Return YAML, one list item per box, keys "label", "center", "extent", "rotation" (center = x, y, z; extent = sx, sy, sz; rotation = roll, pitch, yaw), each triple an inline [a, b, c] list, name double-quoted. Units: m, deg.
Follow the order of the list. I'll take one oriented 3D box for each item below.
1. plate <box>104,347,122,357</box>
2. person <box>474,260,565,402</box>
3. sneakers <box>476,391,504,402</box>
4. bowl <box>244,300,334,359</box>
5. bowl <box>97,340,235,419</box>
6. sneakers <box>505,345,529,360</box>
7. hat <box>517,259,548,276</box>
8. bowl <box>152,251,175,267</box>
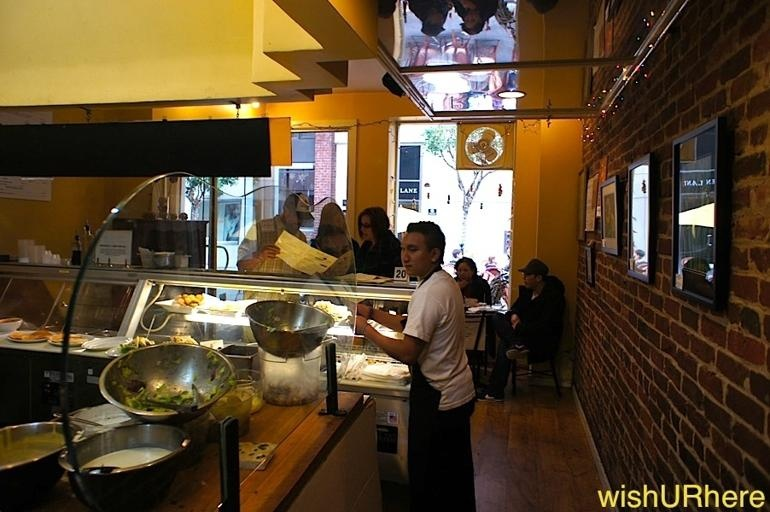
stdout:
- label: "plate"
  center: [-1.072, 0.376, 2.201]
  extent: [0.052, 0.012, 0.053]
  rotation: [10, 17, 35]
- label: "person"
  center: [1.404, 0.734, 5.771]
  extent: [0.639, 1.353, 0.951]
  rotation: [7, 9, 39]
- label: "sneakers"
  center: [1.048, 1.381, 5.633]
  extent: [0.247, 0.108, 0.082]
  rotation: [2, 7, 8]
- label: "bowl"
  center: [-0.421, 0.336, 2.469]
  extent: [0.374, 0.246, 0.430]
  rotation: [6, 15, -14]
- label: "bowl"
  center: [-0.777, 0.474, 2.033]
  extent: [0.427, 0.131, 0.429]
  rotation: [8, 21, -3]
- label: "sneakers"
  center: [1.262, 0.923, 5.383]
  extent: [0.103, 0.107, 0.234]
  rotation: [-18, -24, 26]
- label: "hat"
  center: [1.555, 0.130, 5.853]
  extent: [0.234, 0.128, 0.164]
  rotation: [14, 3, 11]
- label: "bowl"
  center: [-1.022, 0.015, 2.579]
  extent: [0.082, 0.059, 0.065]
  rotation: [-3, -4, 27]
